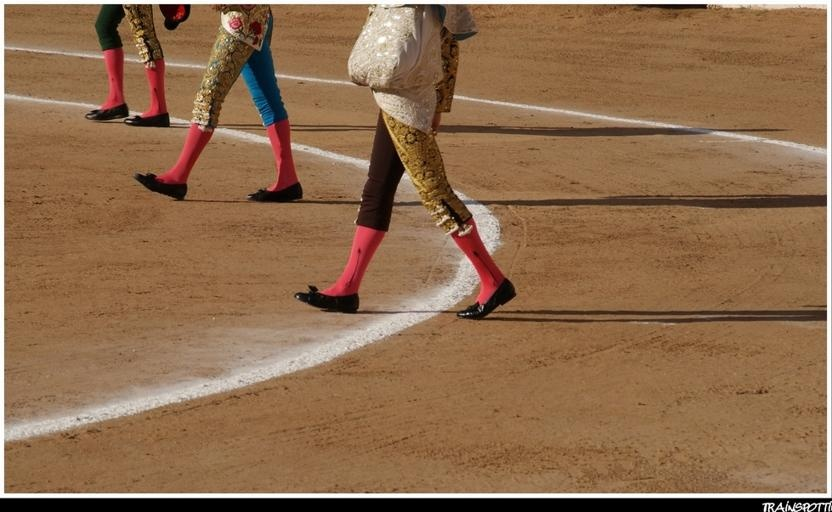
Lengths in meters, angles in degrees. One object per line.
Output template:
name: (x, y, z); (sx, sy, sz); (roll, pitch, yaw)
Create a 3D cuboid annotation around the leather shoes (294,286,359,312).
leather shoes: (-0.744, 0.369, 7.900); (0.721, 0.154, 0.190); (8, 3, -1)

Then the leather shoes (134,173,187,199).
leather shoes: (-2.652, -0.737, 9.759); (0.732, 0.189, 0.203); (11, 22, -25)

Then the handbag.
handbag: (-0.147, -1.663, 7.248); (0.907, 0.618, 0.296); (2, -19, 10)
